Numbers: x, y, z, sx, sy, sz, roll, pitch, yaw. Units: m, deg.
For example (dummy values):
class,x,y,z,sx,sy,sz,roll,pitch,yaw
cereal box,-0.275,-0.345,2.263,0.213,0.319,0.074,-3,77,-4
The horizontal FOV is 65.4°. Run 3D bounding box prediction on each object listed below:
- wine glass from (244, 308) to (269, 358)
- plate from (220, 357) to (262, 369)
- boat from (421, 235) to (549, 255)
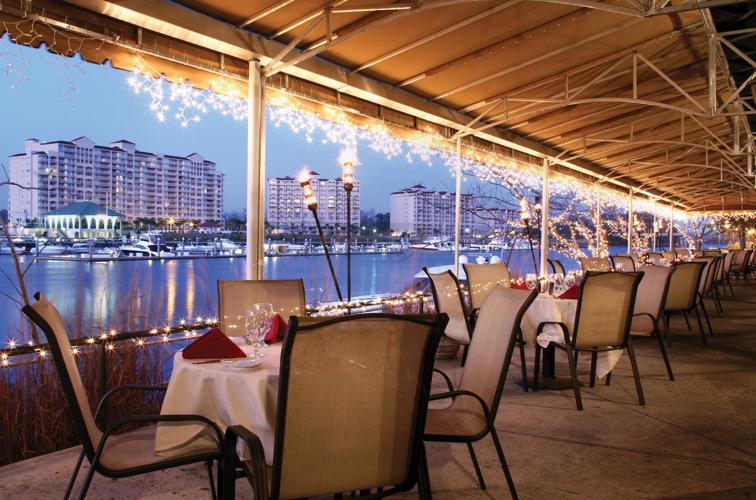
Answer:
class,x,y,z,sx,sy,sz,roll,pitch,yaw
wine glass,-0.834,0.555,4.103,0.172,0.316,0.376,-3,11,-12
plate,-0.903,0.731,3.852,0.260,0.037,0.186,-3,11,-14
boat,1.888,-0.086,10.464,0.371,0.300,2.124,-3,-3,38
